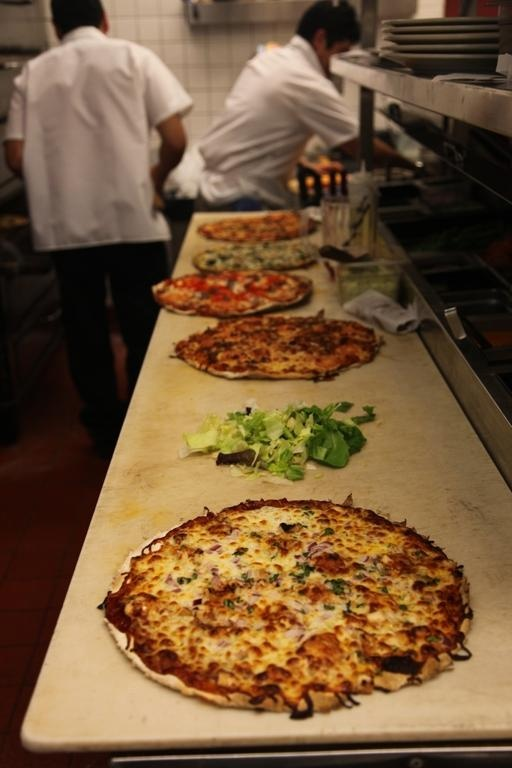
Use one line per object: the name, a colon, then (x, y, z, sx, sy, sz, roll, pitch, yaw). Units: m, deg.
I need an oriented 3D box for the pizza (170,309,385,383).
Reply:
pizza: (0.059, -0.101, 1.642, 0.486, 0.058, 0.408, 11, 30, 21)

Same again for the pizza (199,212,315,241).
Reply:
pizza: (0.000, -0.592, 2.469, 0.304, 0.043, 0.191, 0, 31, 2)
